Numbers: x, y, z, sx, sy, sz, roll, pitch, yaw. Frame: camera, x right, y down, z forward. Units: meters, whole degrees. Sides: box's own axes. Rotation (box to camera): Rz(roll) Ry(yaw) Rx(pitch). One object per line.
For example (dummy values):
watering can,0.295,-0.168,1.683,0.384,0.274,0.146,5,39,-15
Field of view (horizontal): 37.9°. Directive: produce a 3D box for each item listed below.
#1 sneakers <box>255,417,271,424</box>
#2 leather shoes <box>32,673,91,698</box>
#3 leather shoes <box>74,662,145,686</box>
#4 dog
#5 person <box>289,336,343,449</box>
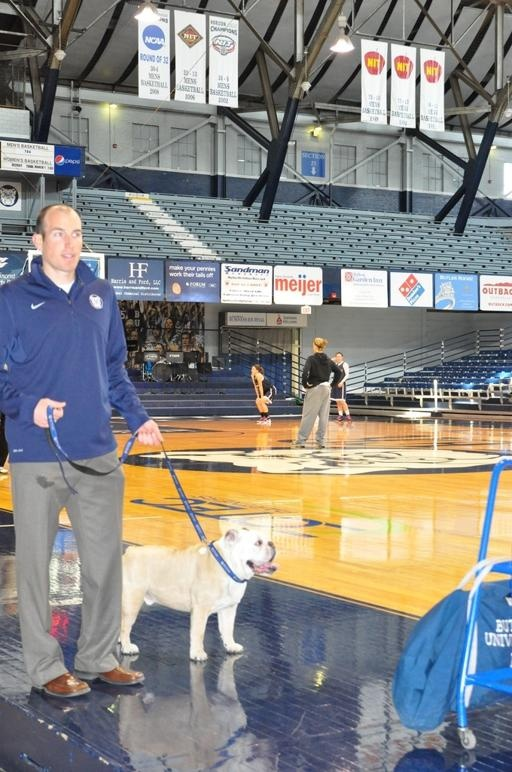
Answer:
sneakers,0.186,0.778,16.790,0.395,0.186,0.144,3,2,-9
leather shoes,-0.546,0.830,2.086,0.140,0.062,0.056,-7,-6,22
leather shoes,-0.444,0.863,2.253,0.193,0.090,0.076,-1,-4,6
dog,-0.211,0.675,2.481,0.521,0.453,0.228,1,0,12
person,0.991,0.062,11.603,0.589,1.607,0.500,1,8,-10
